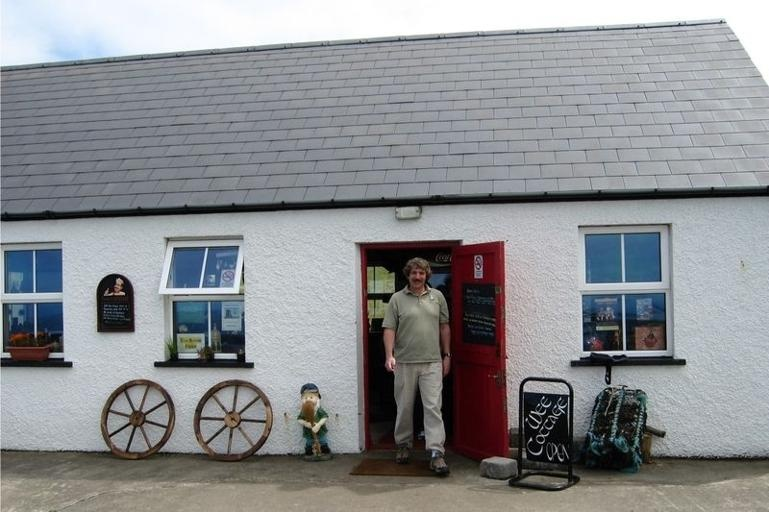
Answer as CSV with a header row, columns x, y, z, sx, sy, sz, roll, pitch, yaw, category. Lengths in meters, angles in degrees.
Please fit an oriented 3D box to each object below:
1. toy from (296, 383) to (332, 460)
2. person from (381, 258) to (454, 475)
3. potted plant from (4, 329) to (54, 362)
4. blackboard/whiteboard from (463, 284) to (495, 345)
x,y,z,sx,sy,sz,roll,pitch,yaw,category
-1.067,2.521,11.834,0.519,1.106,0.468,2,-6,-5,toy
0.478,1.600,11.443,0.993,3.150,0.550,1,-6,3,person
-5.784,1.508,12.603,0.682,0.340,0.453,0,-2,-4,potted plant
1.415,0.874,11.624,0.166,0.938,0.698,6,-7,-33,blackboard/whiteboard
